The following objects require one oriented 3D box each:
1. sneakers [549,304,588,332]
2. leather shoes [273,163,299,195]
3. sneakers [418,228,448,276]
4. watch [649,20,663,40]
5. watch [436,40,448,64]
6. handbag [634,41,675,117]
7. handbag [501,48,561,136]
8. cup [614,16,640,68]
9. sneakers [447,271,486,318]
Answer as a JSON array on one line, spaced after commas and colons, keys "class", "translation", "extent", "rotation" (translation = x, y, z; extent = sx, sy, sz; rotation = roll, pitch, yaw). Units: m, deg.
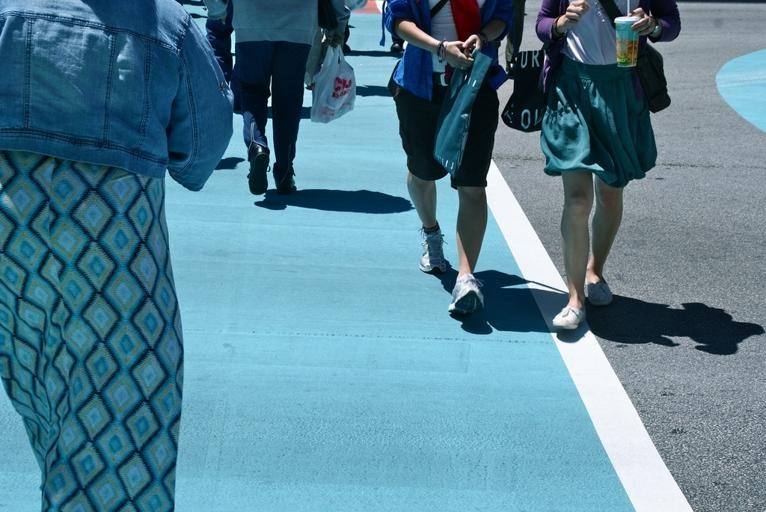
[{"class": "sneakers", "translation": [1.143, 0.382, 4.850], "extent": [0.115, 0.104, 0.232], "rotation": [4, 9, 35]}, {"class": "leather shoes", "translation": [-0.888, -0.697, 7.149], "extent": [0.215, 0.301, 0.634], "rotation": [0, 9, -11]}, {"class": "sneakers", "translation": [0.374, -0.072, 5.752], "extent": [0.190, 0.268, 0.566], "rotation": [3, 19, -1]}, {"class": "watch", "translation": [1.648, -1.363, 4.712], "extent": [0.061, 0.122, 0.058], "rotation": [-1, 12, 0]}, {"class": "watch", "translation": [0.357, -1.225, 4.737], "extent": [0.035, 0.103, 0.080], "rotation": [11, 18, 3]}, {"class": "handbag", "translation": [1.611, -1.106, 4.832], "extent": [0.127, 0.393, 0.281], "rotation": [-20, -15, 37]}, {"class": "handbag", "translation": [1.031, -1.043, 5.059], "extent": [0.353, 0.566, 0.246], "rotation": [10, 31, 44]}, {"class": "cup", "translation": [1.432, -1.259, 4.585], "extent": [0.174, 0.284, 0.181], "rotation": [-2, 16, 0]}, {"class": "sneakers", "translation": [0.547, 0.228, 4.957], "extent": [0.144, 0.162, 0.327], "rotation": [1, -20, -5]}]
